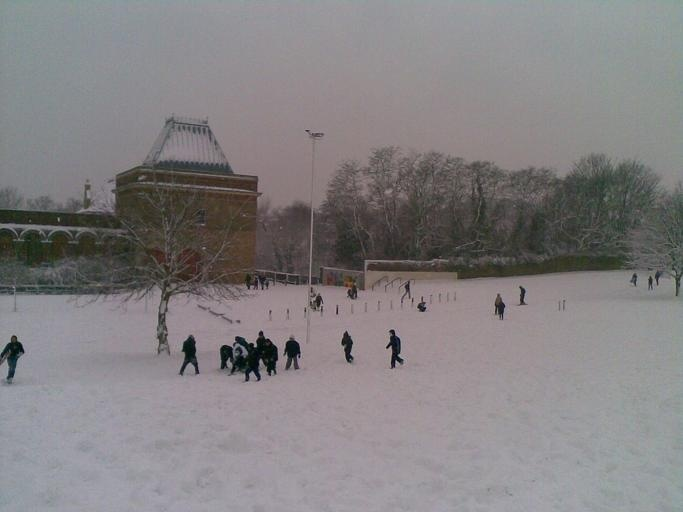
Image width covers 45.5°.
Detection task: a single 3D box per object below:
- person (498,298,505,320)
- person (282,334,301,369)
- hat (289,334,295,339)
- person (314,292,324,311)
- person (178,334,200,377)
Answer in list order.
[{"bbox_3d":[8.781,2.866,44.649,0.295,0.979,1.794,1,4,11],"label":"person"},{"bbox_3d":[-2.100,3.984,34.220,0.644,1.491,1.281,-1,4,-4],"label":"person"},{"bbox_3d":[-2.073,3.364,34.005,0.276,0.162,0.410,8,-9,-14],"label":"hat"},{"bbox_3d":[-1.463,2.898,51.574,0.691,1.544,0.413,7,19,21],"label":"person"},{"bbox_3d":[-6.128,3.904,32.584,0.796,1.649,1.155,-1,4,-11],"label":"person"}]
